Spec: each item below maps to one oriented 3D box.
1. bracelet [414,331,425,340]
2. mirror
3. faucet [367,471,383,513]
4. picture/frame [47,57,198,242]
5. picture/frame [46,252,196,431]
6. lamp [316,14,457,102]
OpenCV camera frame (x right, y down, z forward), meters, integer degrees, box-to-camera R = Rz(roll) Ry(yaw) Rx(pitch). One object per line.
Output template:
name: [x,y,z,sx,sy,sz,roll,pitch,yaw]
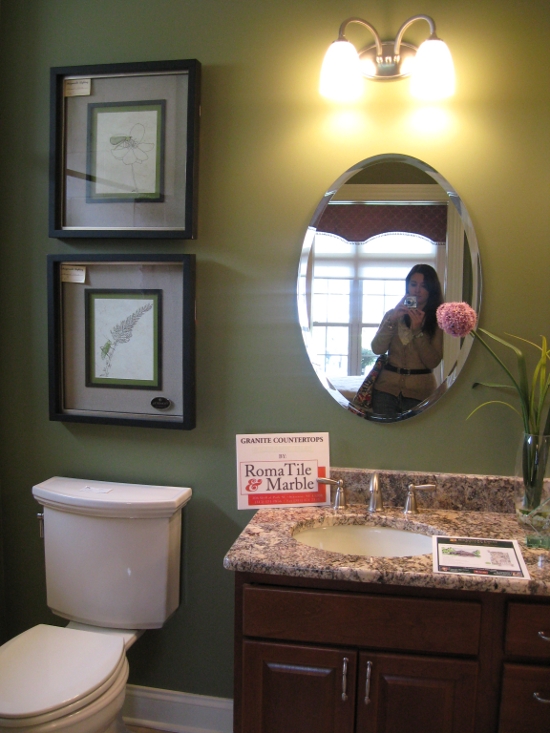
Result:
bracelet: [0.407,-0.090,1.797,0.023,0.026,0.024,2,7,40]
mirror: [0.306,-0.243,1.768,0.536,0.889,0.033,7,-26,6]
faucet: [0.278,0.349,1.780,0.037,0.095,0.093,3,6,8]
picture/frame: [-0.439,-0.655,1.885,0.485,0.524,0.057,2,6,13]
picture/frame: [-0.458,-0.093,1.943,0.471,0.590,0.059,3,2,13]
lamp: [0.304,-0.842,1.710,0.328,0.205,0.146,2,7,9]
